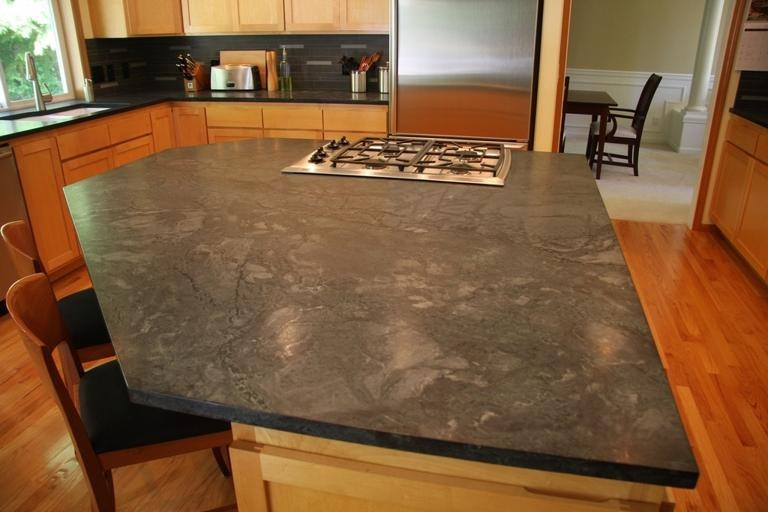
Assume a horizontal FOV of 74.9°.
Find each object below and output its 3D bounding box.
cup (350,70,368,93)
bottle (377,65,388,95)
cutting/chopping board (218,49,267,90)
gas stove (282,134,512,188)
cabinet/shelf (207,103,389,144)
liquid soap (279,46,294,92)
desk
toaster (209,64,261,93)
[{"bbox_3d":[-0.245,-1.651,4.765,0.132,0.195,0.094,-5,28,-14],"label":"cup"},{"bbox_3d":[-0.013,-1.635,4.680,0.059,0.232,0.137,-6,28,-15],"label":"bottle"},{"bbox_3d":[-1.391,-1.827,4.949,0.531,0.305,0.016,4,15,1],"label":"cutting/chopping board"},{"bbox_3d":[0.115,-0.514,2.583,1.063,0.084,0.740,6,23,11],"label":"gas stove"},{"bbox_3d":[-0.828,-1.202,4.566,1.744,0.392,0.104,6,28,10],"label":"cabinet/shelf"},{"bbox_3d":[-0.988,-1.859,4.975,0.135,0.403,0.306,-3,26,-9],"label":"liquid soap"},{"bbox_3d":[2.517,-1.575,6.265,0.594,0.992,1.292,10,26,17],"label":"desk"},{"bbox_3d":[-1.477,-1.743,4.926,0.479,0.245,0.218,-3,26,-10],"label":"toaster"}]
